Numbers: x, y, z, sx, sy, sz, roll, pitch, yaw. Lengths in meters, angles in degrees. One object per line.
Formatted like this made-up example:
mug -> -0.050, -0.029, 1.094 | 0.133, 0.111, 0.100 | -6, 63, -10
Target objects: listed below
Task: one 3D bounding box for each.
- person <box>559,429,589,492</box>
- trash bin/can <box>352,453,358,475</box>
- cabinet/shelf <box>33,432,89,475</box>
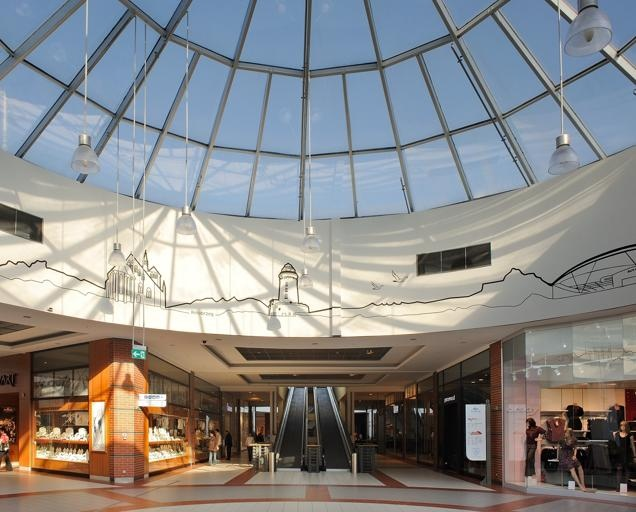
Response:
person -> 7.593, 6.035, 14.844 | 0.369, 1.724, 0.795 | 5, -21, -16
trash bin/can -> 1.662, 9.383, 22.682 | 0.224, 0.763, 0.383 | -1, -20, 0
cabinet/shelf -> -9.885, 7.588, 19.146 | 0.389, 1.165, 2.559 | 0, -23, 32
